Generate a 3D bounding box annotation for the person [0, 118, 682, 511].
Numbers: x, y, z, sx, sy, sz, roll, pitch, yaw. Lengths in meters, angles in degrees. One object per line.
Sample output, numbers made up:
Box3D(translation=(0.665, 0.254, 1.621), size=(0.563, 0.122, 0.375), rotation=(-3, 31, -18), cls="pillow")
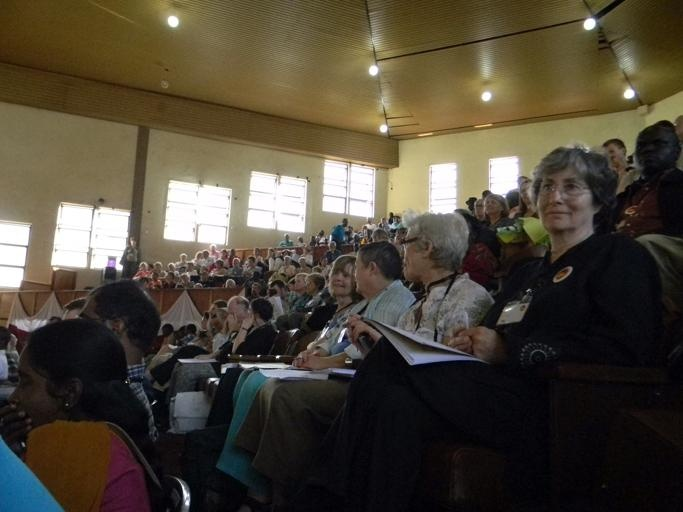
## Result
Box3D(translation=(0.362, 0.207, 1.786), size=(0.775, 1.037, 1.055), rotation=(8, -17, -14), cls="person")
